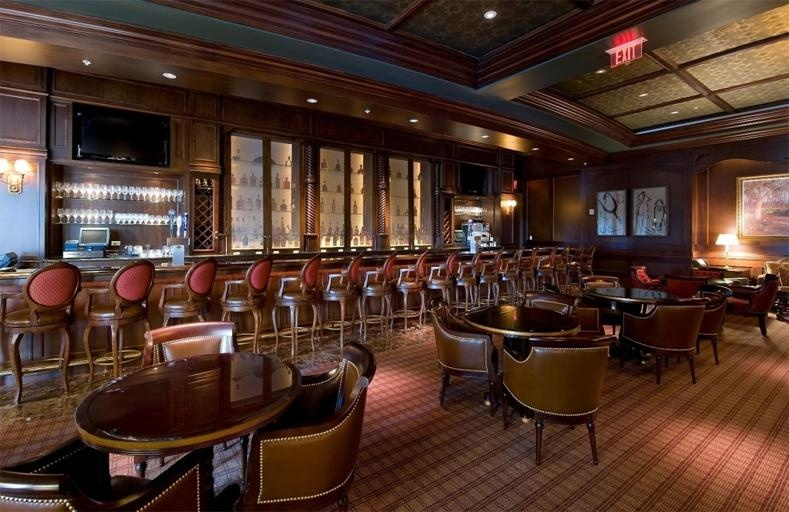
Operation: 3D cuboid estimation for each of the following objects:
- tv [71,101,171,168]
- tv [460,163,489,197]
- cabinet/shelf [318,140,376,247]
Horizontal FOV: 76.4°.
[{"bbox_3d":[-4.358,-1.945,7.908,1.206,0.783,0.157,1,-1,-25],"label":"tv"},{"bbox_3d":[1.900,-1.882,12.129,0.839,0.545,0.449,5,-11,-40],"label":"tv"},{"bbox_3d":[-0.953,-1.172,10.130,1.236,1.957,0.312,-4,4,-41],"label":"cabinet/shelf"}]
